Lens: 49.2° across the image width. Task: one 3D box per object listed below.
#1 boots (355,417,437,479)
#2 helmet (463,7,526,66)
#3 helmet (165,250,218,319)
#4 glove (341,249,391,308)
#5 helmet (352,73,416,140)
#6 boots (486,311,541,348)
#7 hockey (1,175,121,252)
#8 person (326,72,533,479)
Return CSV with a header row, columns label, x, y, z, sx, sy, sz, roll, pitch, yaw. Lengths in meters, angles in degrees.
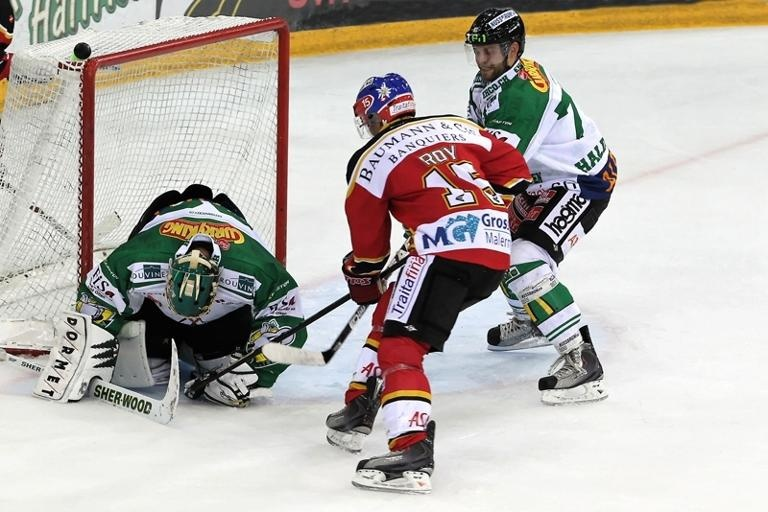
label,x,y,z,sx,sy,sz,roll,pitch,yaw
boots,0.057,0.784,3.355,0.365,0.199,0.120,-13,-21,30
helmet,0.585,-1.134,4.283,0.304,0.248,0.242,-29,30,-11
helmet,-0.907,0.110,3.900,0.267,0.233,0.313,9,4,-18
glove,-0.044,0.073,3.806,0.277,0.219,0.220,-3,39,9
helmet,-0.004,-0.683,3.768,0.245,0.234,0.304,-18,11,-39
boots,0.634,0.406,4.631,0.448,0.216,0.117,0,25,1
hockey,-1.781,-0.239,4.570,0.844,0.076,0.136,28,32,16
person,0.167,0.053,3.550,0.787,1.718,0.634,2,1,7
